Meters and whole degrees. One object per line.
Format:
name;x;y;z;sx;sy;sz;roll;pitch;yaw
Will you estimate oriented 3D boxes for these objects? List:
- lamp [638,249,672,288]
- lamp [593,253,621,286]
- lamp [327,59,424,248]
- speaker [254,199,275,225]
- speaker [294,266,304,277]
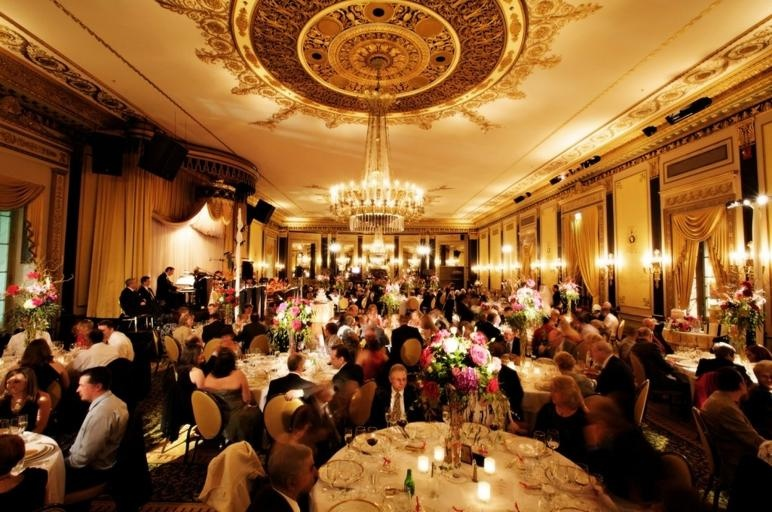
lamp;6.567;0.240;12.419;0.623;0.879;0.635;4;-7;-10
lamp;6.151;0.367;14.297;0.589;1.168;0.670;9;-10;-30
lamp;-0.202;-1.959;11.491;1.755;3.116;1.733;-15;30;-31
speaker;-4.458;-1.648;18.727;0.406;0.777;0.760;13;-15;32
speaker;-4.104;0.748;24.671;0.412;0.433;0.774;9;1;6
